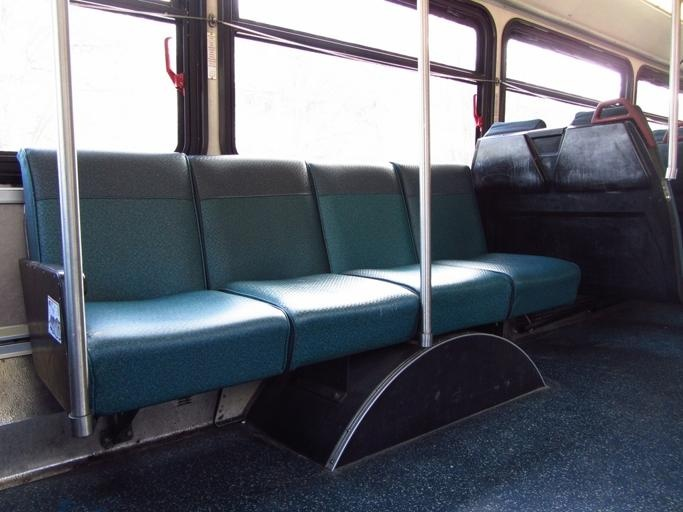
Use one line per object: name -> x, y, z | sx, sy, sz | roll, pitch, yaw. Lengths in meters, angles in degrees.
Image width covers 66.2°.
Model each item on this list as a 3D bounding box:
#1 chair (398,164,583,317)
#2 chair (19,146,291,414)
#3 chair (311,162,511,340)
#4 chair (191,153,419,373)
chair -> 0.810, -0.118, 3.032 | 0.654, 0.799, 0.937 | -7, 7, -27
chair -> -0.609, -0.003, 2.224 | 0.839, 1.113, 1.164 | -5, 6, -38
chair -> 0.429, -0.078, 2.644 | 0.774, 0.914, 1.100 | -9, 0, -25
chair -> -0.191, -0.017, 2.328 | 0.659, 0.813, 0.975 | -6, 7, -35
